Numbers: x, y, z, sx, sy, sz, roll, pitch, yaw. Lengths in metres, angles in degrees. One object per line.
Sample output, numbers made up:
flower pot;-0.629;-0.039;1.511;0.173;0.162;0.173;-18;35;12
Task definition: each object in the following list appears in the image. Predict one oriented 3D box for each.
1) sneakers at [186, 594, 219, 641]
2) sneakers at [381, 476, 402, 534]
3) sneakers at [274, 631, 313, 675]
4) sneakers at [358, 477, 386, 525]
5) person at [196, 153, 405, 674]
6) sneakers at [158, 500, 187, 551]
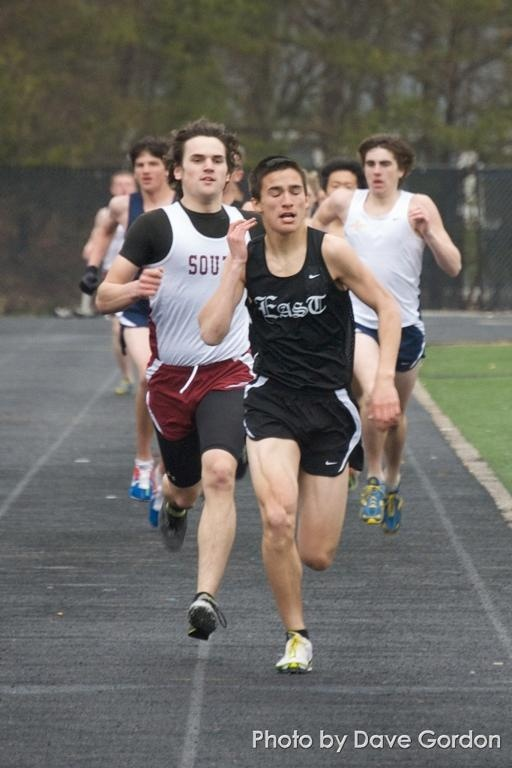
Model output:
sneakers;-0.157;0.692;2.794;0.111;0.128;0.066;15;26;12
sneakers;0.672;0.619;4.599;0.094;0.217;0.110;1;6;9
sneakers;0.111;0.790;2.710;0.087;0.137;0.104;-1;32;12
sneakers;0.564;0.559;4.525;0.098;0.116;0.266;0;33;8
person;0.193;0.015;2.882;0.514;1.222;1.051;-4;31;8
sneakers;-0.367;0.630;4.195;0.114;0.251;0.113;-3;26;-7
